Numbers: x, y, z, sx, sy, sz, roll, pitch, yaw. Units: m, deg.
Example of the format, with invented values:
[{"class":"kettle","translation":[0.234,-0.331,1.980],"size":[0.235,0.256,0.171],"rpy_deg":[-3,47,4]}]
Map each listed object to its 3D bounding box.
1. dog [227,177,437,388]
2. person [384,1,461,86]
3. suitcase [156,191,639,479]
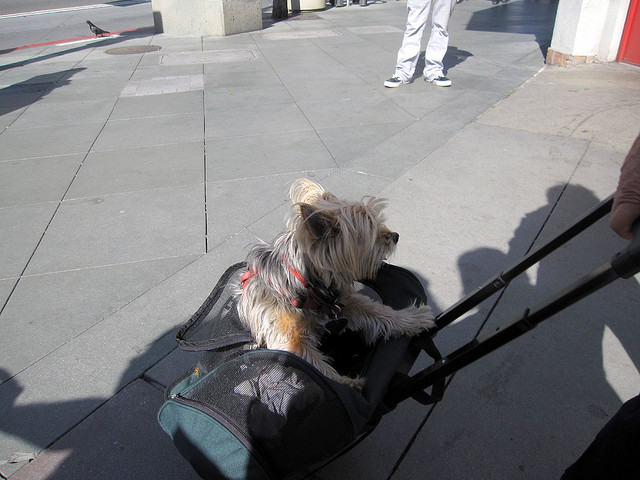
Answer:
[{"class":"dog","translation":[-0.027,0.254,2.815],"size":[1.015,1.617,0.748],"rpy_deg":[40,36,-17]},{"class":"person","translation":[1.757,-3.299,7.330],"size":[1.071,1.301,0.719],"rpy_deg":[-20,38,-25]},{"class":"suitcase","translation":[0.478,0.599,2.559],"size":[1.572,1.413,0.922],"rpy_deg":[17,35,15]}]
